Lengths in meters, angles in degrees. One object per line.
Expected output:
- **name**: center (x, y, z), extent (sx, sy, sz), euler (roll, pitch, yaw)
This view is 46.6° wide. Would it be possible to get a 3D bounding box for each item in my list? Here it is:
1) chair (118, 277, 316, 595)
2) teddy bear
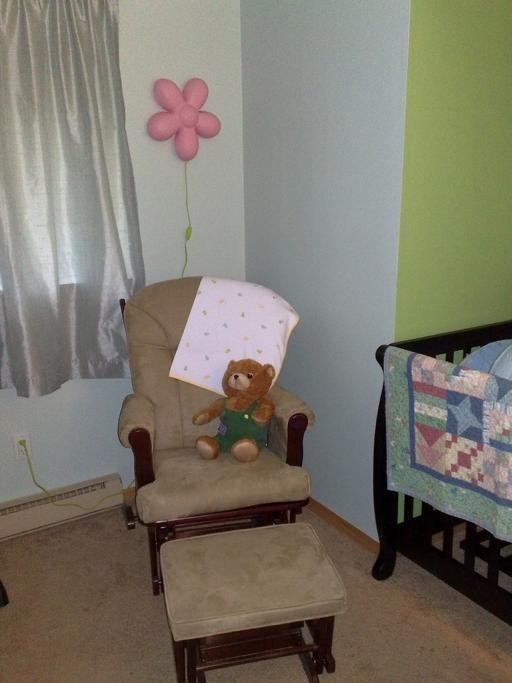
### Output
- **chair**: center (-0.040, 0.268, 2.349), extent (0.679, 1.113, 0.962), euler (-4, 20, -13)
- **teddy bear**: center (-0.059, 0.218, 2.195), extent (0.319, 0.455, 0.303), euler (3, 2, 40)
